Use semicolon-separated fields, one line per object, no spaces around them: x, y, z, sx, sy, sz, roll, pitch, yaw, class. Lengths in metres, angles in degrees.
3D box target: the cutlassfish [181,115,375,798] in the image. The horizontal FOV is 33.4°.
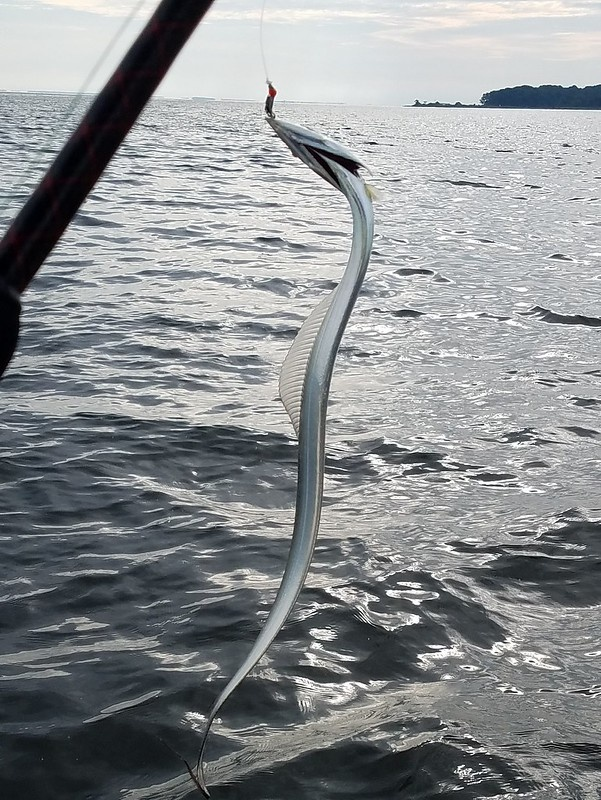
-0.007;0.024;1.551;0.179;0.912;0.379;5;14;-1;cutlassfish
